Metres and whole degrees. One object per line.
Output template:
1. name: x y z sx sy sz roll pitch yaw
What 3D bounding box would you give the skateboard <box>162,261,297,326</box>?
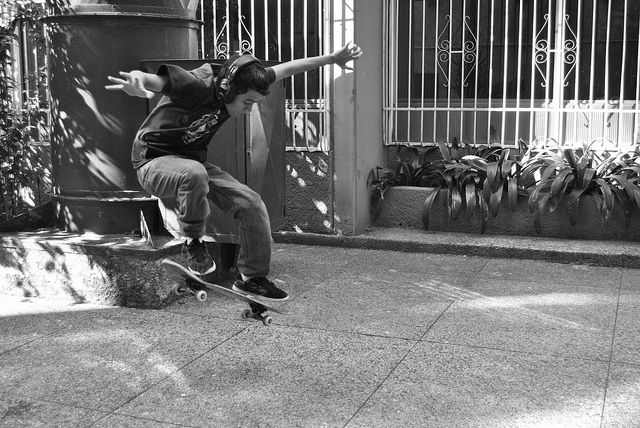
1. skateboard: -0.893 0.777 4.815 0.938 0.173 0.269 28 -28 -18

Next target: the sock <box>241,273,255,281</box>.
1. sock: -0.629 0.523 4.268 0.055 0.041 0.054 -6 9 -42
